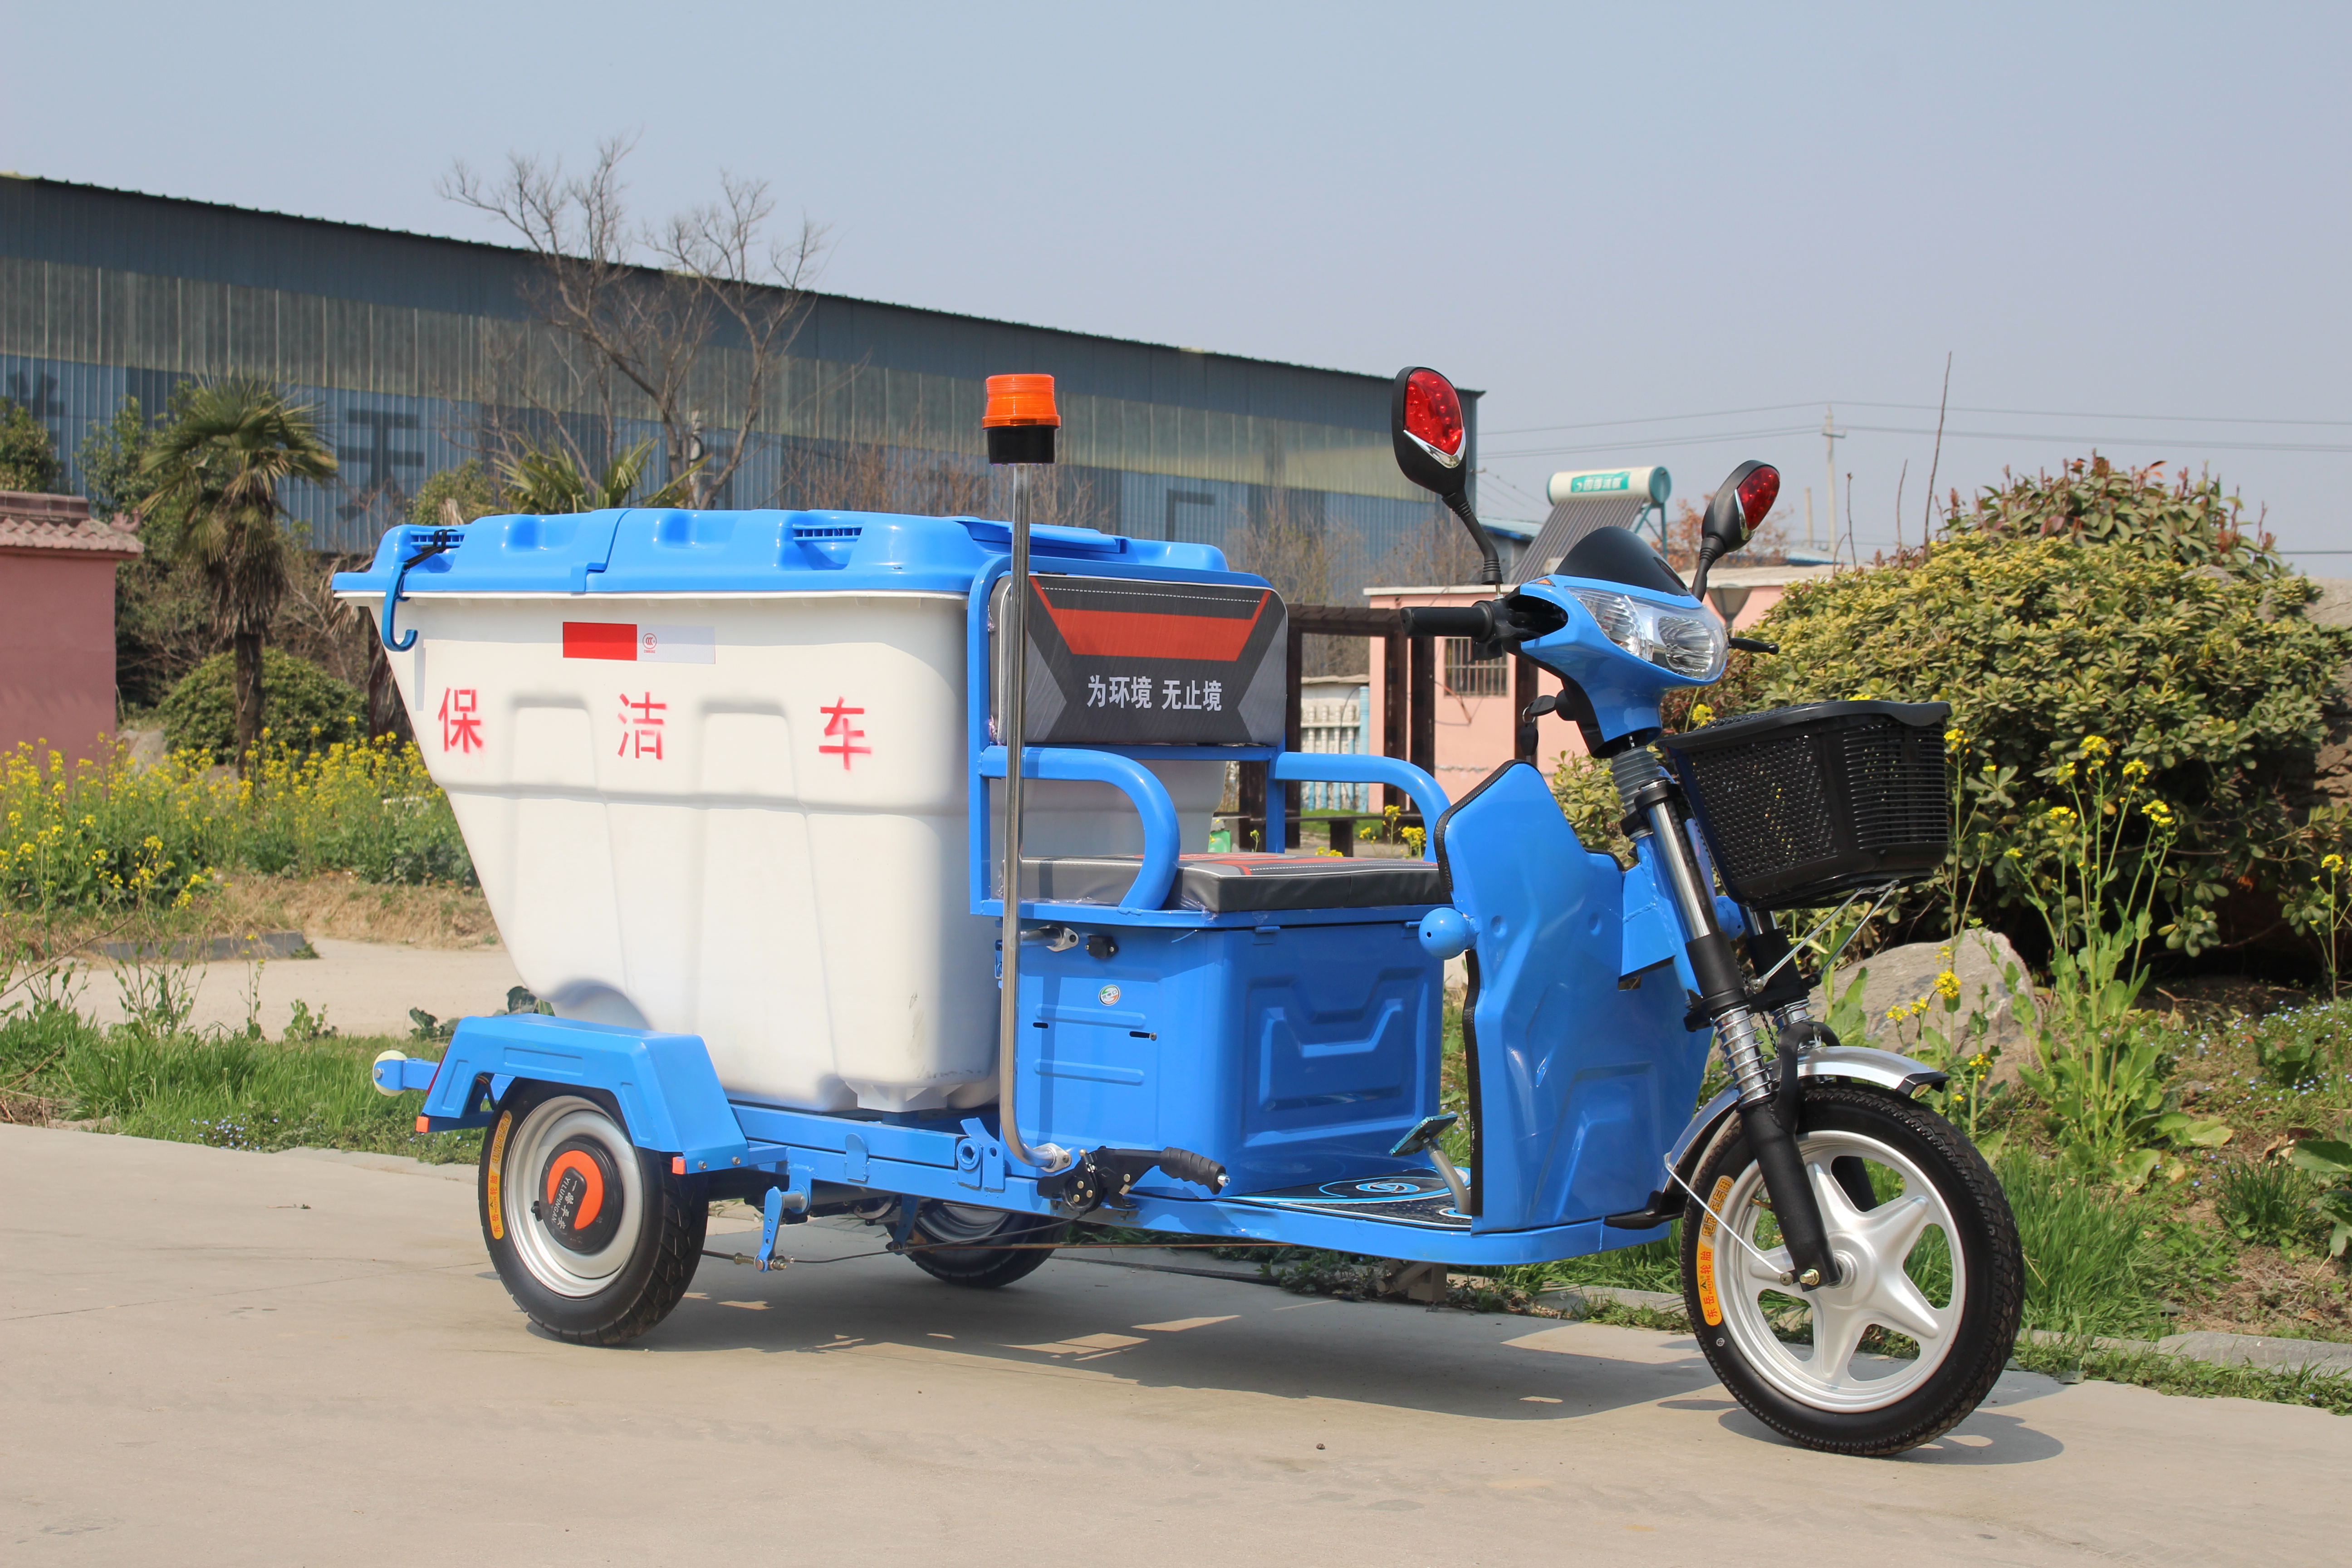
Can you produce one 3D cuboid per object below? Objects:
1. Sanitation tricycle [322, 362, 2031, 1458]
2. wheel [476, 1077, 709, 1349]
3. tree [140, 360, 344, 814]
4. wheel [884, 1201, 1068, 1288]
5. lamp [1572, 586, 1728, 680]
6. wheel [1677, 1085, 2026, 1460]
[{"bbox_3d":[0.186,0.436,10.038,5.808,3.362,2.879,-1,-1,30],"label":"Sanitation tricycle"},{"bbox_3d":[-2.011,1.476,9.451,0.779,0.850,0.207,13,3,31],"label":"wheel"},{"bbox_3d":[-12.862,-2.992,37.398,2.106,5.051,10.796,-3,8,-20],"label":"tree"},{"bbox_3d":[-0.747,1.732,10.105,0.445,0.161,0.455,2,-2,0],"label":"wheel"},{"bbox_3d":[1.494,-0.488,8.700,0.391,0.168,0.299,17,6,15],"label":"lamp"},{"bbox_3d":[2.038,1.541,8.426,0.875,0.938,0.186,20,-4,22],"label":"wheel"}]
